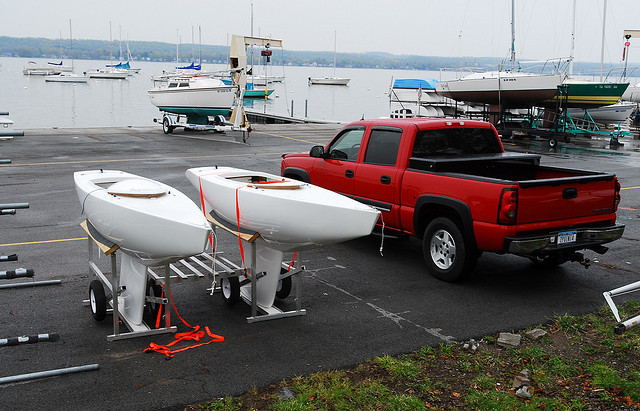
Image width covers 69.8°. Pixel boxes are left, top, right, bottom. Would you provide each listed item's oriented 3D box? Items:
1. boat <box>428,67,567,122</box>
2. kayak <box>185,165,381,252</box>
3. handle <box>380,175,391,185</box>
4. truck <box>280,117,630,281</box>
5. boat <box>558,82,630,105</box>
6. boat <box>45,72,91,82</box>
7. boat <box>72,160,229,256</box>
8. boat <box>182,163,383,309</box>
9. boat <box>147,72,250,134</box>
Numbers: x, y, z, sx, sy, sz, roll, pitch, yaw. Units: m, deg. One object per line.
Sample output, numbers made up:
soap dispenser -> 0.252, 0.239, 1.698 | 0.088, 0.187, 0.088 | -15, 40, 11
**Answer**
boat -> 10.929, -6.534, 28.152 | 2.559, 2.552, 8.654 | -13, 17, -31
kayak -> -0.529, 0.123, 6.137 | 2.486, 0.846, 0.912 | 12, 20, 37
handle -> 1.105, -0.427, 7.764 | 0.049, 0.144, 0.223 | -11, 19, -32
truck -> 1.856, -0.291, 8.471 | 2.712, 1.869, 5.544 | -9, 19, -40
boat -> 15.225, -6.288, 25.741 | 1.657, 1.204, 4.955 | -11, 17, -37
boat -> -52.442, -26.138, 93.912 | 6.570, 1.818, 22.201 | -9, 18, -29
boat -> -2.406, 0.192, 6.013 | 3.137, 0.784, 1.082 | 20, 14, 41
boat -> -0.619, 0.526, 6.212 | 2.540, 1.667, 1.098 | 12, 21, 37
boat -> -6.619, -5.320, 24.670 | 7.850, 3.167, 2.847 | 15, 27, 43
